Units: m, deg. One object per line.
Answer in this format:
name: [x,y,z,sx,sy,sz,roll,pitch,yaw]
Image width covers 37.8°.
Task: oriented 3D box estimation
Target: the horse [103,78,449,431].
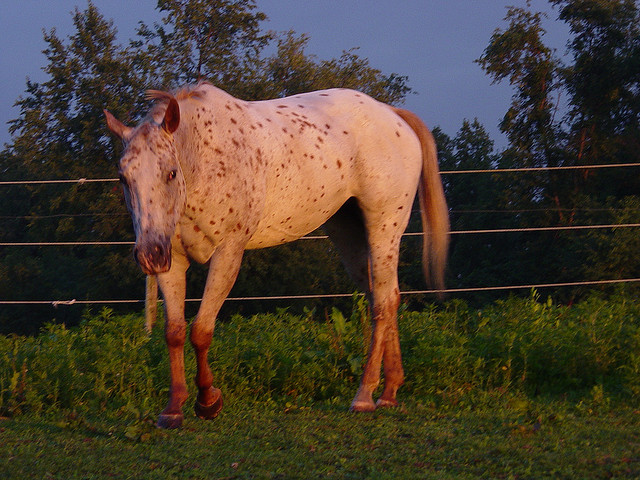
horse: [-0.572,0.104,11.999,5.851,4.241,1.653,0,-1,-43]
